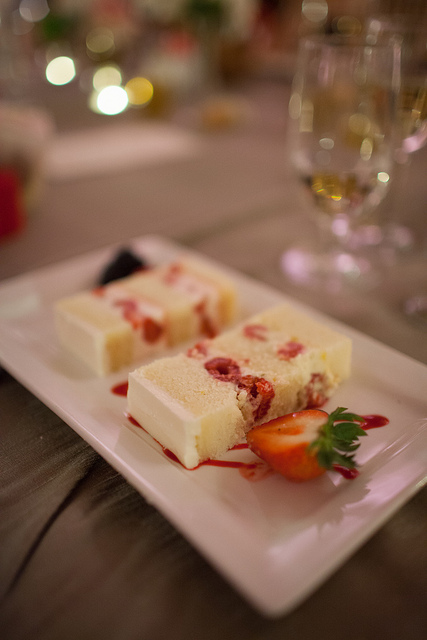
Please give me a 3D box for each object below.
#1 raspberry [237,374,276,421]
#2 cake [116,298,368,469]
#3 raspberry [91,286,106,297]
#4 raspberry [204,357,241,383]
[{"bbox_3d":[0.044,0.083,0.639,0.036,0.044,0.036,-25,45,-25],"label":"raspberry"},{"bbox_3d":[0.046,0.034,0.611,0.282,0.062,0.163,-20,38,-35],"label":"cake"},{"bbox_3d":[-0.157,-0.038,0.802,0.017,0.004,0.014,-12,35,-19],"label":"raspberry"},{"bbox_3d":[0.014,0.056,0.659,0.028,0.008,0.028,-15,39,-35],"label":"raspberry"}]
